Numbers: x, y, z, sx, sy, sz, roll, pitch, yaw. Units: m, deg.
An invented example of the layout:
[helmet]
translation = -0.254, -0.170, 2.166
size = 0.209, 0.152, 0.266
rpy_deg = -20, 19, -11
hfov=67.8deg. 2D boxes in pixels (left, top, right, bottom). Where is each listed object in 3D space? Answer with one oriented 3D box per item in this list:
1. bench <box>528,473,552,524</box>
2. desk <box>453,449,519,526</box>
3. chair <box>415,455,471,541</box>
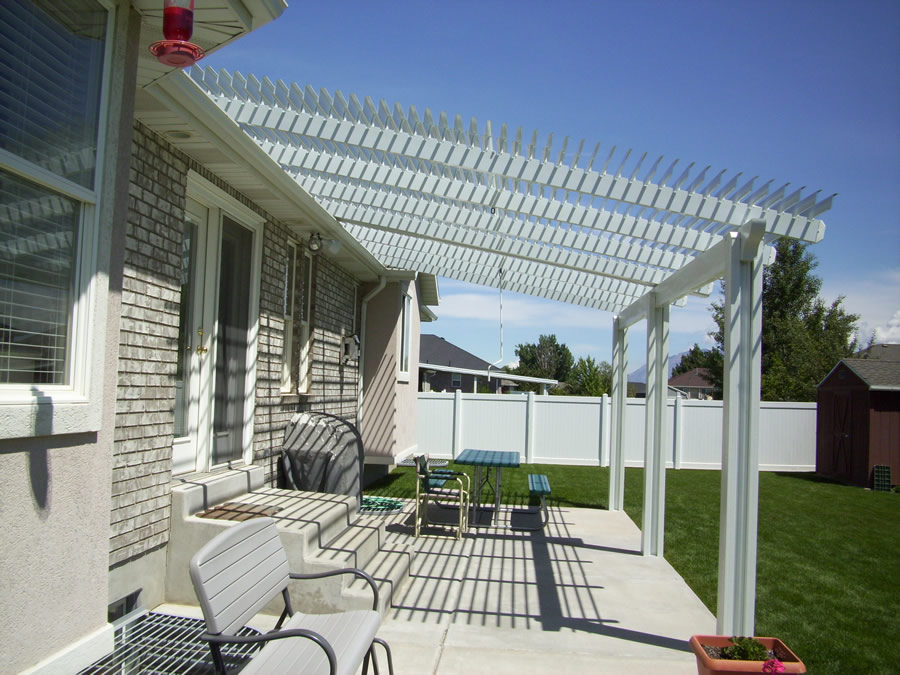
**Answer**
[bench]
translation = 1.236, 2.344, 9.347
size = 0.268, 0.684, 1.110
rpy_deg = 1, 0, 5
[desk]
translation = 0.531, 1.868, 9.283
size = 0.893, 1.058, 0.977
rpy_deg = -1, -5, 11
[chair]
translation = -0.128, 2.254, 9.398
size = 0.535, 1.053, 1.716
rpy_deg = 2, -11, 2
